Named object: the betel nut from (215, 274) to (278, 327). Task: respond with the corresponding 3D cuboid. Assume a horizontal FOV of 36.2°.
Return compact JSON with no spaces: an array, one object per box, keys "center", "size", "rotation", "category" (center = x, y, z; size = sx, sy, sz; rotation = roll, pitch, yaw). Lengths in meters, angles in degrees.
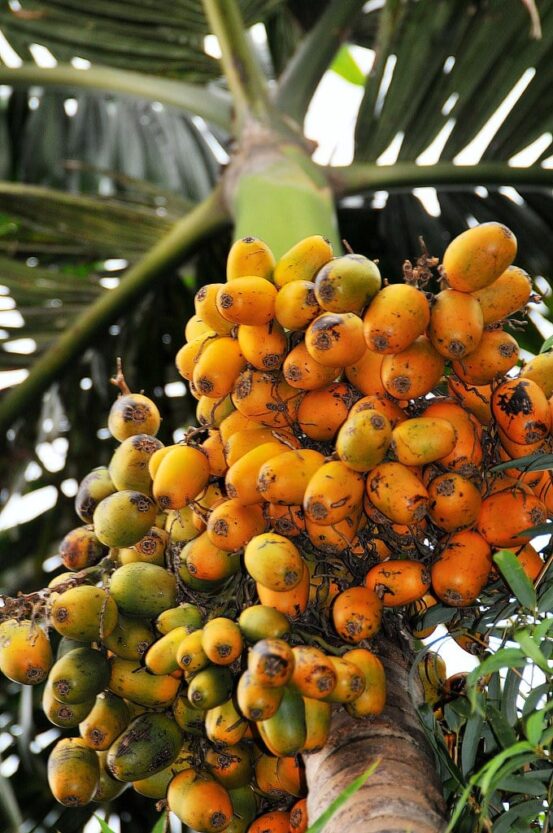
[{"center":[-0.038,-0.169,1.239],"size":[0.088,0.059,0.049],"rotation":[7,40,-55],"category":"betel nut"}]
